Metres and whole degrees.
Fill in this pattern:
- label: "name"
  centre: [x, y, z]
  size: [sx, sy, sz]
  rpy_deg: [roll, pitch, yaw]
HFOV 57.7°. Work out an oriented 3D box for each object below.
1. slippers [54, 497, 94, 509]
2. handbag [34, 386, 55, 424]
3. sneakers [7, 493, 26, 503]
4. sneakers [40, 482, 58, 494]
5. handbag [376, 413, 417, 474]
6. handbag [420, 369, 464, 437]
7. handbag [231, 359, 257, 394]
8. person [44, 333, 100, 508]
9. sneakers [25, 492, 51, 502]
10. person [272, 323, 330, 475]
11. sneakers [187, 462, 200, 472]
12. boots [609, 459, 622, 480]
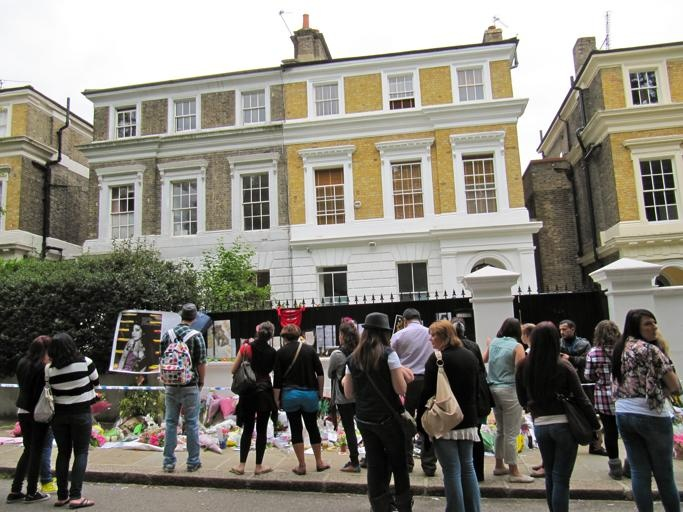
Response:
- label: "slippers"
  centre: [-3.992, 3.724, 9.315]
  size: [0.415, 0.148, 0.216]
  rpy_deg: [-1, -7, -12]
- label: "handbag"
  centre: [-4.450, 2.225, 9.315]
  size: [0.268, 0.554, 0.150]
  rpy_deg: [2, -7, -21]
- label: "sneakers"
  centre: [-4.967, 3.713, 9.542]
  size: [0.110, 0.109, 0.259]
  rpy_deg: [3, 0, 40]
- label: "sneakers"
  centre: [-4.595, 3.675, 9.857]
  size: [0.130, 0.126, 0.301]
  rpy_deg: [1, -4, 20]
- label: "handbag"
  centre: [0.640, 2.610, 8.279]
  size: [0.343, 0.997, 0.467]
  rpy_deg: [19, -34, -37]
- label: "handbag"
  centre: [1.328, 1.910, 8.201]
  size: [0.409, 0.897, 0.582]
  rpy_deg: [1, 8, 33]
- label: "handbag"
  centre: [-1.587, 2.003, 10.246]
  size: [0.248, 0.518, 0.524]
  rpy_deg: [-7, 0, 38]
- label: "person"
  centre: [-4.108, 2.485, 9.426]
  size: [0.739, 2.605, 0.377]
  rpy_deg: [2, -7, -23]
- label: "sneakers"
  centre: [-4.647, 3.683, 9.532]
  size: [0.344, 0.145, 0.135]
  rpy_deg: [0, 0, -28]
- label: "person"
  centre: [-0.689, 2.380, 10.314]
  size: [0.868, 2.469, 0.513]
  rpy_deg: [1, -7, -12]
- label: "sneakers"
  centre: [-2.475, 3.580, 10.497]
  size: [0.085, 0.106, 0.244]
  rpy_deg: [2, 2, 43]
- label: "boots"
  centre: [4.318, 3.380, 9.906]
  size: [0.137, 0.242, 0.359]
  rpy_deg: [-6, -3, 7]
